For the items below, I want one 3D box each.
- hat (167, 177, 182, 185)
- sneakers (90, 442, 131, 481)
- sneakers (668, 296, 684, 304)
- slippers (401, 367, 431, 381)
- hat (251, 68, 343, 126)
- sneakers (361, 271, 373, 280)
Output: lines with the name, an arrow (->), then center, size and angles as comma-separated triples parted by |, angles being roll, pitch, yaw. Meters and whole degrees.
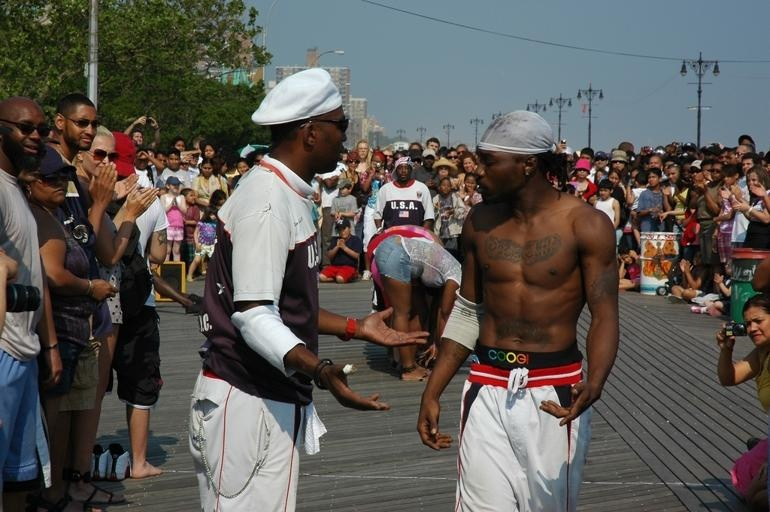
hat -> -3.643, -1.283, 17.575 | 0.133, 0.106, 0.184 | 1, 4, -26
sneakers -> -2.518, 1.885, 9.402 | 0.207, 0.189, 0.420 | 1, 5, -5
sneakers -> 4.520, 0.667, 15.858 | 0.091, 0.090, 0.233 | -8, 11, -39
slippers -> 0.358, 1.404, 12.281 | 0.385, 0.151, 0.142 | 0, 6, -10
hat -> -0.610, -1.068, 7.108 | 0.524, 0.209, 0.385 | -22, 23, -15
sneakers -> -0.326, 0.324, 18.248 | 0.188, 0.232, 0.118 | 5, -7, 28
